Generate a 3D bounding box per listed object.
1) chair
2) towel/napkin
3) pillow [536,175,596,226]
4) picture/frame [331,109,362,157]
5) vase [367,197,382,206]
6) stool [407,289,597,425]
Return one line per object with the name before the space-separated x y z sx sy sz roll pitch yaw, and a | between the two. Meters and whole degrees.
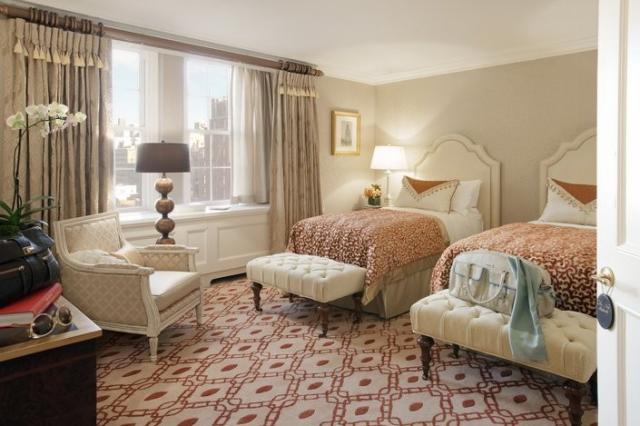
chair | -1.762 0.546 4.322 1.336 1.563 1.220 0 5 16
towel/napkin | 1.438 0.651 2.935 0.318 0.619 0.478 5 14 26
pillow | 2.807 -0.138 4.787 0.197 0.375 0.626 17 -9 -28
picture/frame | 0.388 -1.272 6.688 0.061 0.805 0.886 1 2 43
vase | 0.860 -0.174 6.705 0.152 0.083 0.151 1 1 39
stool | 1.458 0.741 3.059 1.227 0.547 0.700 4 7 42
